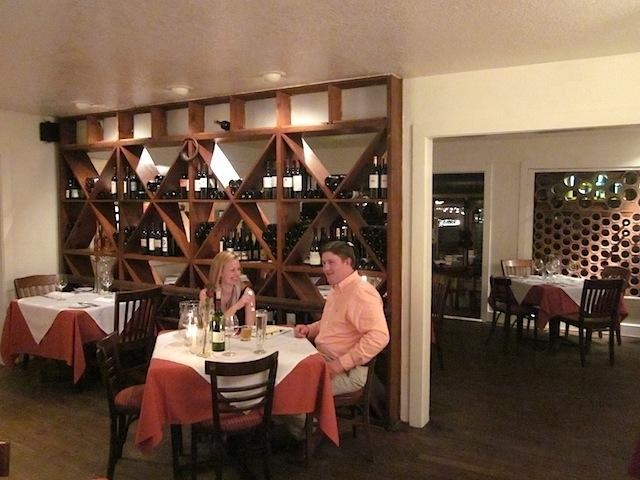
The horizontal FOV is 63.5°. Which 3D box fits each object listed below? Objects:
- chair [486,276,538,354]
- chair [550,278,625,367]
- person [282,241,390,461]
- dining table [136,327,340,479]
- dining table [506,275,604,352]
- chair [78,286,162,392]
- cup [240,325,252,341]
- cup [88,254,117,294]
[{"bbox_3d":[2.601,0.973,6.937,0.588,0.889,0.496,2,0,-5],"label":"chair"},{"bbox_3d":[3.361,0.996,6.409,0.769,1.103,0.787,1,4,6],"label":"chair"},{"bbox_3d":[0.052,0.871,4.294,0.883,1.613,0.805,6,-1,0],"label":"person"},{"bbox_3d":[-0.584,1.216,3.815,1.052,0.472,1.076,0,-6,-11],"label":"dining table"},{"bbox_3d":[3.151,0.797,6.866,1.446,0.481,1.488,-6,-2,24],"label":"dining table"},{"bbox_3d":[-2.004,0.916,5.295,0.588,0.985,0.567,13,12,30],"label":"chair"},{"bbox_3d":[-0.559,0.713,3.989,0.108,0.123,0.111,0,3,0],"label":"cup"},{"bbox_3d":[-2.410,0.404,5.850,0.272,0.365,0.264,1,-3,0],"label":"cup"}]
